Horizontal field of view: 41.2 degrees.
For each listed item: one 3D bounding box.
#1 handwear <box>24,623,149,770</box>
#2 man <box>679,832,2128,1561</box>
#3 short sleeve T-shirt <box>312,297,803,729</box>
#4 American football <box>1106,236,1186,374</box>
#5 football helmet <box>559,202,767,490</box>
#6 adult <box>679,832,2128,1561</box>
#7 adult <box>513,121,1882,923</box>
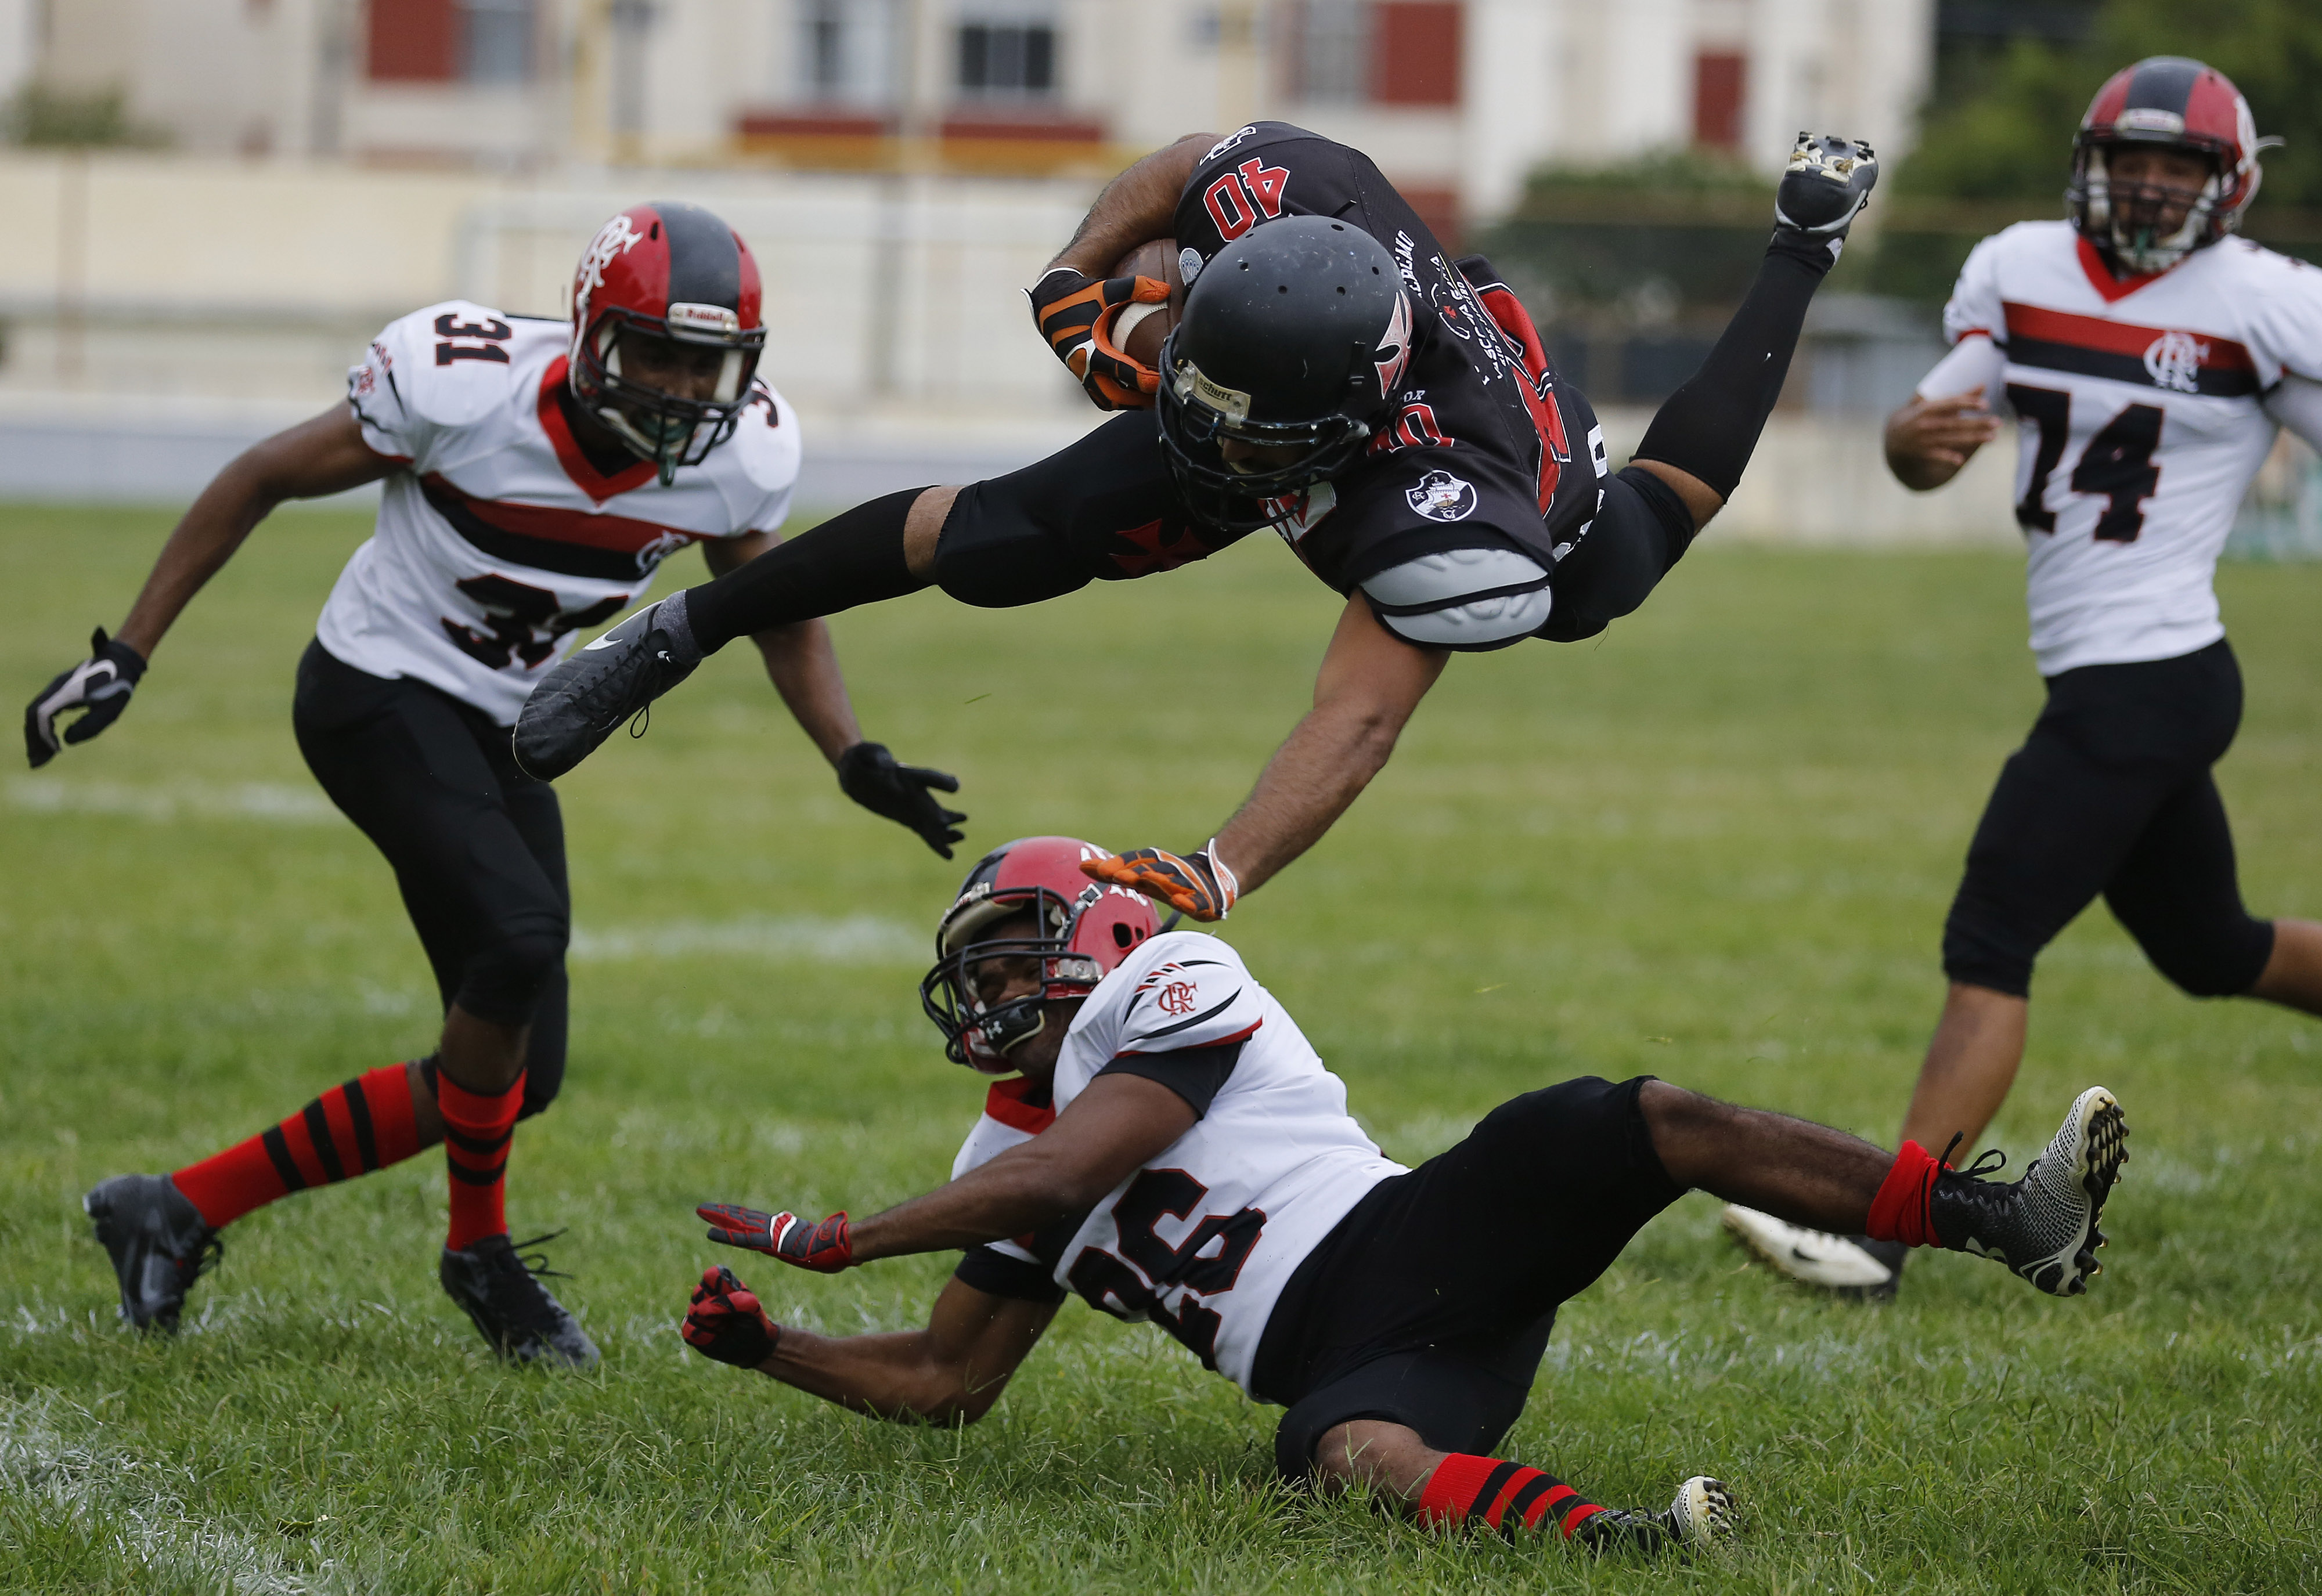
[{"bbox_3d":[-2.454,-0.230,6.968,0.335,0.316,0.232,10,15,34],"label":"handwear"},{"bbox_3d":[0.425,0.877,6.251,2.679,1.304,1.114,11,-26,17],"label":"man"},{"bbox_3d":[-1.561,-0.673,7.126,0.912,0.875,0.497,15,29,-46],"label":"short sleeve T-shirt"},{"bbox_3d":[-0.037,-1.133,6.994,0.201,0.234,0.269,3,26,-19],"label":"American football"},{"bbox_3d":[-1.049,-1.005,6.756,0.410,0.608,0.558,-1,22,-28],"label":"football helmet"},{"bbox_3d":[0.419,0.875,6.274,2.711,1.319,1.125,10,-30,20],"label":"adult"},{"bbox_3d":[0.336,-0.706,6.784,2.957,1.526,1.408,-4,13,-20],"label":"adult"}]
